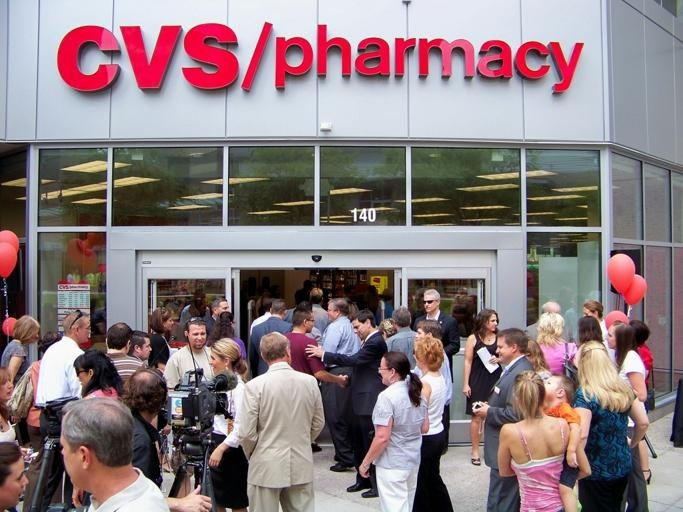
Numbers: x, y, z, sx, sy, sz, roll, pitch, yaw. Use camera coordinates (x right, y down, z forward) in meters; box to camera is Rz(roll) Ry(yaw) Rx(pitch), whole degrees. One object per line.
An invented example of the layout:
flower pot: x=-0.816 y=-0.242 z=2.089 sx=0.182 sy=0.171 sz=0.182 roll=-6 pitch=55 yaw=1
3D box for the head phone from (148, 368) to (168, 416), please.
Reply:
head phone: x=-1.673 y=1.245 z=6.052 sx=0.225 sy=0.349 sz=0.175 roll=8 pitch=17 yaw=12

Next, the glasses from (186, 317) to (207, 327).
glasses: x=-1.660 y=0.733 z=7.509 sx=0.162 sy=0.053 sz=0.163 roll=-7 pitch=-7 yaw=33

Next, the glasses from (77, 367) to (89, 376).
glasses: x=-2.539 y=1.133 z=6.536 sx=0.119 sy=0.081 sz=0.060 roll=-1 pitch=-6 yaw=5

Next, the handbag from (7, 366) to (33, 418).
handbag: x=-3.742 y=1.600 z=7.779 sx=0.256 sy=0.612 sz=0.176 roll=2 pitch=-6 yaw=-28

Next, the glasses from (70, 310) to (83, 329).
glasses: x=-3.100 y=0.736 z=7.799 sx=0.043 sy=0.166 sz=0.161 roll=22 pitch=3 yaw=-14

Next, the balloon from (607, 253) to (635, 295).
balloon: x=4.208 y=0.262 z=10.012 sx=0.388 sy=0.681 sz=0.422 roll=-1 pitch=16 yaw=26

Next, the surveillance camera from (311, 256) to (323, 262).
surveillance camera: x=-0.379 y=0.027 z=10.144 sx=0.094 sy=0.079 sz=0.105 roll=0 pitch=6 yaw=-12
